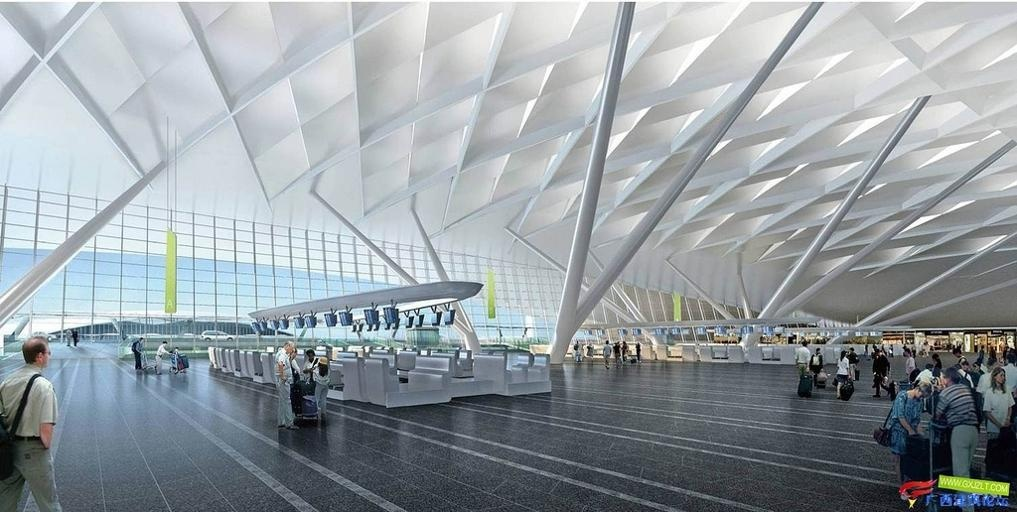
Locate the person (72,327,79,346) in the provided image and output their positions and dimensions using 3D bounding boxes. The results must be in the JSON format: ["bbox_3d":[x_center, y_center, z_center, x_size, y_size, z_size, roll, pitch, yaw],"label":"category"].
[{"bbox_3d":[-35.373,6.714,40.687,0.223,1.497,0.404,2,4,41],"label":"person"}]

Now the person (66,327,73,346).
[{"bbox_3d":[-35.606,6.686,40.486,0.654,1.481,0.269,-2,3,-24],"label":"person"}]

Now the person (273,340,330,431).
[{"bbox_3d":[-8.485,5.102,19.998,0.965,3.281,1.404,1,3,27],"label":"person"}]

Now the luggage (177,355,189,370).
[{"bbox_3d":[-22.489,7.409,34.443,0.393,1.254,1.446,-2,2,-22],"label":"luggage"}]
